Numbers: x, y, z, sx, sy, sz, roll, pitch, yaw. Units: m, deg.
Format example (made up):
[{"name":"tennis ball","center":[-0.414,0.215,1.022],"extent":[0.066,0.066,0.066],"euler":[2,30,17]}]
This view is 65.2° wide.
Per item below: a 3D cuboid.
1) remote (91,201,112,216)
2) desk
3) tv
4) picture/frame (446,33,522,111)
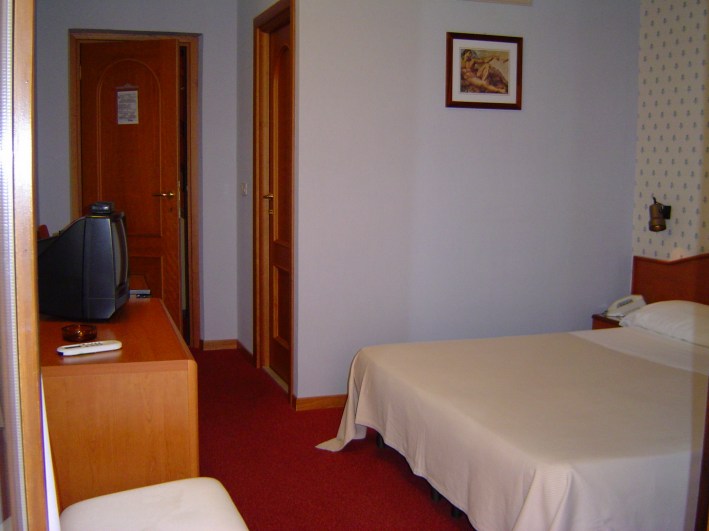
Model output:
[{"name":"remote","center":[-1.098,-0.245,2.420],"extent":[0.060,0.037,0.065],"euler":[0,10,-14]},{"name":"desk","center":[-0.846,0.249,2.077],"extent":[0.423,0.701,0.892],"euler":[-5,12,-17]},{"name":"tv","center":[-1.173,0.026,2.591],"extent":[0.357,0.559,0.526],"euler":[1,3,-8]},{"name":"picture/frame","center":[0.857,-1.325,3.782],"extent":[0.444,0.448,0.038],"euler":[-3,11,-12]}]
